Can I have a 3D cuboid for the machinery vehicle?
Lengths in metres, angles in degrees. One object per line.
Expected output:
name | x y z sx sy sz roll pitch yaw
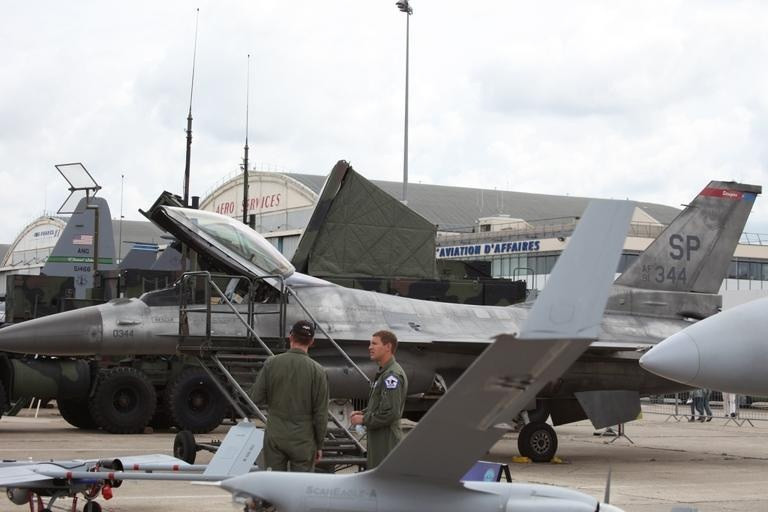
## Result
machinery vehicle | -2.038 1.107 24.064 8.808 3.682 7.205 3 -3 -22
